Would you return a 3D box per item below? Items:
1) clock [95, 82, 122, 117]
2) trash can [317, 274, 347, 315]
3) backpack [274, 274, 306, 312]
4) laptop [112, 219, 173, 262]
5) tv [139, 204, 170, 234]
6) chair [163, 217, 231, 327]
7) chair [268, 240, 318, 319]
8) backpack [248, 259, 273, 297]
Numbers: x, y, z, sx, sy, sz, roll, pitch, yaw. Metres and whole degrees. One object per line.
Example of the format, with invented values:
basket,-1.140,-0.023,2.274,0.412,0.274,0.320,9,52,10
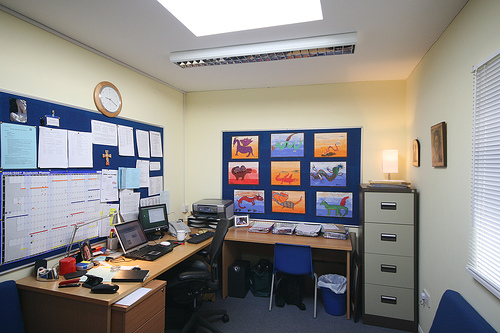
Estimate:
clock,-1.755,-0.829,3.961,0.056,0.467,0.463,-5,-4,23
trash can,1.116,1.685,4.334,0.315,0.401,0.457,1,2,16
backpack,0.541,1.723,4.446,0.391,0.477,0.394,1,-9,-1
laptop,-1.264,0.866,3.894,0.570,0.339,0.547,5,1,19
tv,-1.349,0.744,4.462,0.224,0.403,0.407,-12,-6,44
chair,-0.582,1.406,4.433,1.107,1.583,1.182,2,-9,-7
chair,0.582,1.414,4.306,0.660,0.942,0.556,2,13,4
backpack,0.143,1.609,4.746,0.300,0.505,0.369,-1,6,-19
